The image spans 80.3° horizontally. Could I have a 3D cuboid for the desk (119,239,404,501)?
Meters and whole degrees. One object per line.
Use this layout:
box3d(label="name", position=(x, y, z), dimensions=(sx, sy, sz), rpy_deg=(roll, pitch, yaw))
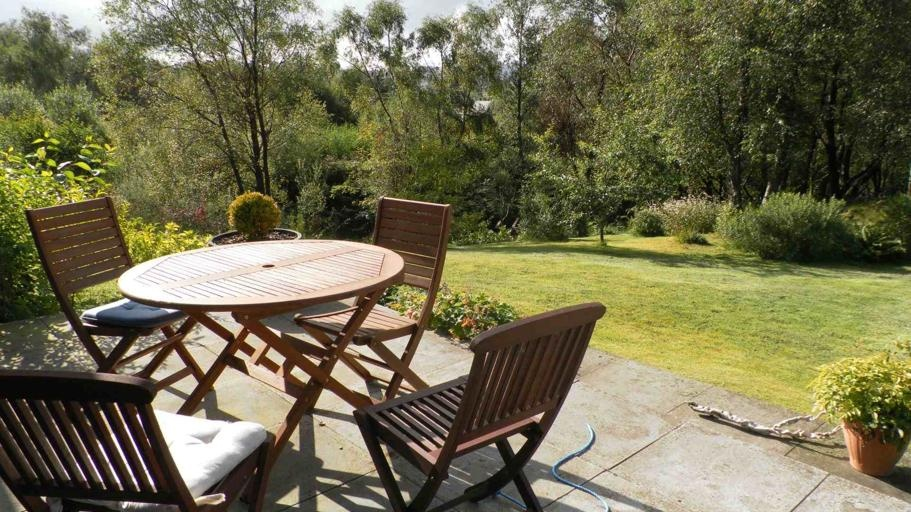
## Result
box3d(label="desk", position=(-1.882, 1.253, 6.274), dimensions=(2.600, 1.546, 2.502), rpy_deg=(12, 21, 35))

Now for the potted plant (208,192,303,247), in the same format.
box3d(label="potted plant", position=(-4.182, -0.774, 11.249), dimensions=(1.564, 0.868, 1.505), rpy_deg=(-1, 11, 1))
